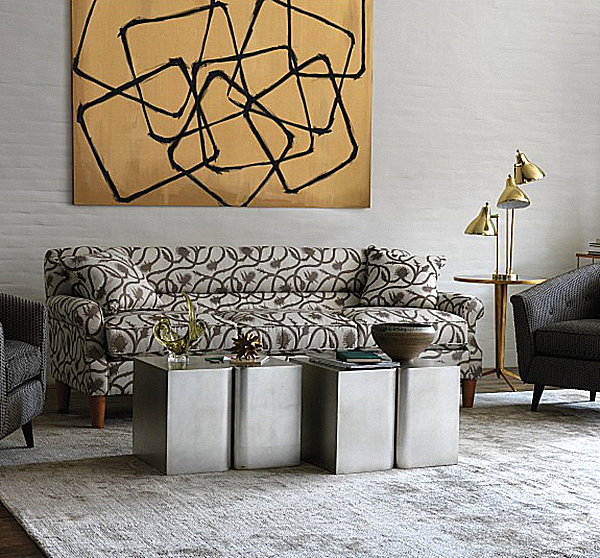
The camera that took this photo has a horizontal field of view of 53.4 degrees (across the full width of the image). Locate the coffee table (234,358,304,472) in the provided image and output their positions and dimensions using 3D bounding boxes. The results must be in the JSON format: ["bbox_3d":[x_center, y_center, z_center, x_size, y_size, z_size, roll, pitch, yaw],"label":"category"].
[{"bbox_3d":[-0.075,0.502,2.243,0.344,0.468,0.333,0,0,-7],"label":"coffee table"}]

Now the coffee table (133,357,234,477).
[{"bbox_3d":[-0.425,0.423,2.283,0.347,0.464,0.473,-1,4,-28],"label":"coffee table"}]

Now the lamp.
[{"bbox_3d":[1.427,-0.421,4.143,0.520,0.890,0.290,0,4,33],"label":"lamp"}]

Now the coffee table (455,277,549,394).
[{"bbox_3d":[1.496,0.360,4.195,0.759,0.819,0.728,1,-1,-16],"label":"coffee table"}]

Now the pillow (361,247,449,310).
[{"bbox_3d":[0.650,0.003,3.770,0.404,0.295,0.151,4,-8,4],"label":"pillow"}]

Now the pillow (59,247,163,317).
[{"bbox_3d":[-0.955,0.014,3.171,0.381,0.354,0.329,0,-2,31],"label":"pillow"}]
